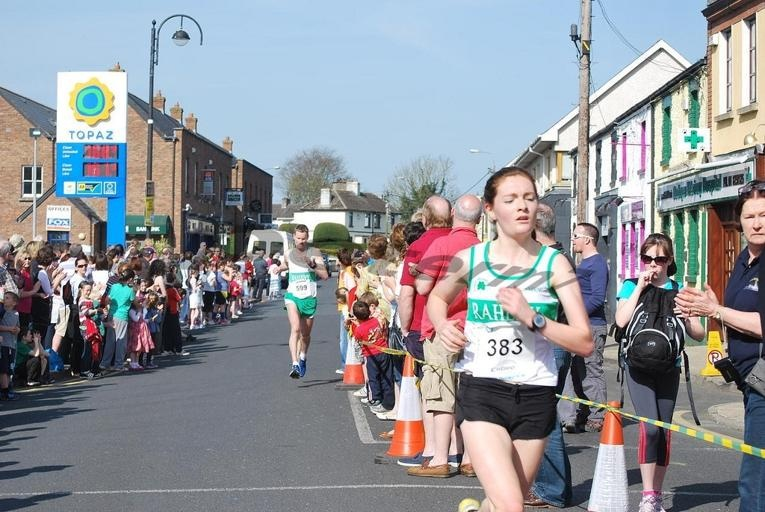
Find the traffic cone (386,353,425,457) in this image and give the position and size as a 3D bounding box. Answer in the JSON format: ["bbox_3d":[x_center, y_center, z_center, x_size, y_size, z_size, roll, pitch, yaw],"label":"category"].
[{"bbox_3d":[0.272,1.786,11.441,0.543,1.142,0.542,1,1,3],"label":"traffic cone"}]

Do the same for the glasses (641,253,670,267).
[{"bbox_3d":[2.869,0.054,10.016,0.280,0.094,0.172,-1,1,16],"label":"glasses"}]
